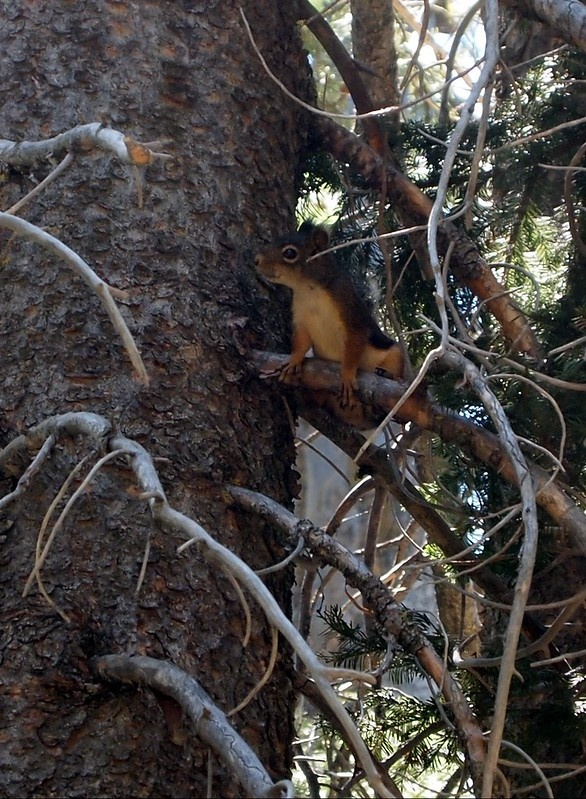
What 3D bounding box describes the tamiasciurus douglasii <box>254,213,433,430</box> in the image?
[{"bbox_3d":[0.206,-0.257,5.145,0.352,0.567,0.864,6,-7,45],"label":"tamiasciurus douglasii"}]
